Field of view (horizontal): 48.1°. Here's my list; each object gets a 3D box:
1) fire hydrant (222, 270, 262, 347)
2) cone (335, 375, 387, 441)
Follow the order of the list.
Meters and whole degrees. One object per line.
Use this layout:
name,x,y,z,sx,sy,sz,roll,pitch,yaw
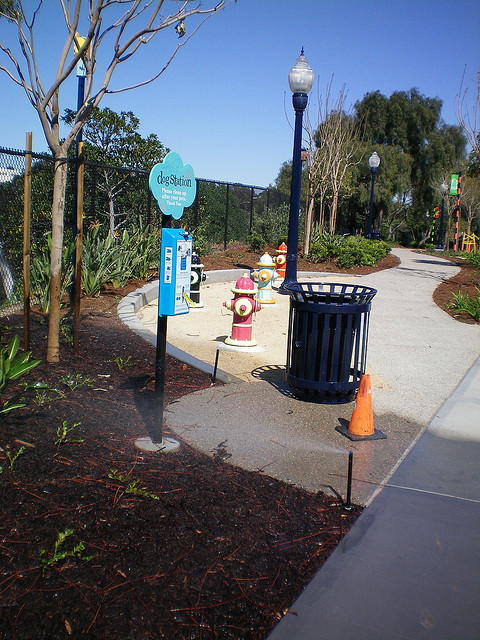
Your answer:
fire hydrant,0.030,-0.118,7.299,0.479,0.929,0.554,3,8,2
cone,0.939,0.702,4.049,0.241,0.591,0.221,0,2,-34
